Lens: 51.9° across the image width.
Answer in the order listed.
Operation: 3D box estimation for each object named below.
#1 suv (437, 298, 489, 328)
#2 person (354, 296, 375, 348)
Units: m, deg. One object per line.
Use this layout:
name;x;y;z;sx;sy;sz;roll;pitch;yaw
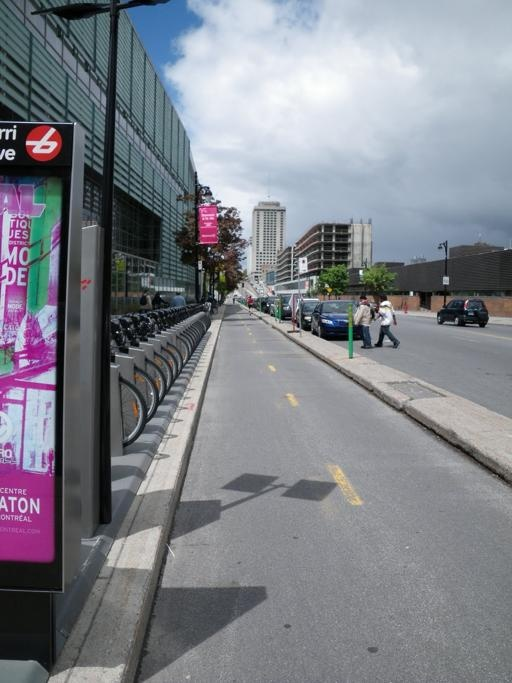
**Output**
suv;13.321;-1.947;33.904;1.627;1.910;3.405;0;13;-5
person;3.918;-0.711;19.227;0.646;1.887;0.961;1;3;15
